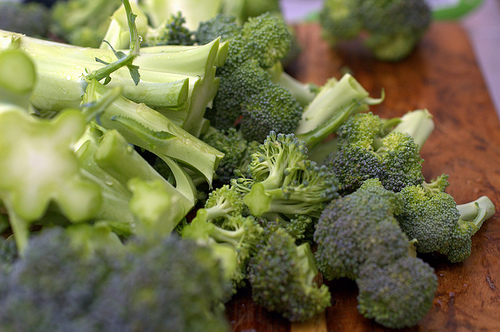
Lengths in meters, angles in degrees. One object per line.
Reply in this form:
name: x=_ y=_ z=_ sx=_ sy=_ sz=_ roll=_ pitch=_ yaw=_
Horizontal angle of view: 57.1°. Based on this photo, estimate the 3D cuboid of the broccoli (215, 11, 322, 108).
broccoli: x=0.093 y=-0.351 z=1.624 sx=0.208 sy=0.364 sz=0.162 roll=-28 pitch=52 yaw=25

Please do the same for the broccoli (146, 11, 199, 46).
broccoli: x=-0.276 y=-0.451 z=1.591 sx=0.140 sy=0.086 sz=0.139 roll=-4 pitch=54 yaw=-2

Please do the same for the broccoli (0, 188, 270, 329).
broccoli: x=-0.297 y=0.209 z=1.172 sx=0.462 sy=0.380 sz=0.172 roll=4 pitch=28 yaw=-3

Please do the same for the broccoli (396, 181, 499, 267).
broccoli: x=0.561 y=0.139 z=1.347 sx=0.296 sy=0.164 sz=0.225 roll=10 pitch=22 yaw=-49

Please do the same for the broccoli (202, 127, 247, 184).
broccoli: x=-0.068 y=-0.044 z=1.374 sx=0.127 sy=0.099 sz=0.170 roll=3 pitch=46 yaw=-8

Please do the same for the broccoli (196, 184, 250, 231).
broccoli: x=-0.074 y=0.109 z=1.328 sx=0.130 sy=0.122 sz=0.095 roll=-25 pitch=17 yaw=7

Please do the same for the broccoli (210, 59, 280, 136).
broccoli: x=-0.037 y=-0.245 z=1.520 sx=0.199 sy=0.252 sz=0.117 roll=33 pitch=22 yaw=-25

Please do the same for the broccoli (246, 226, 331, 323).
broccoli: x=0.102 y=0.245 z=1.193 sx=0.189 sy=0.125 sz=0.248 roll=10 pitch=86 yaw=-7

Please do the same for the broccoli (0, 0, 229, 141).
broccoli: x=-0.451 y=-0.299 z=1.448 sx=0.648 sy=0.384 sz=0.370 roll=18 pitch=26 yaw=14

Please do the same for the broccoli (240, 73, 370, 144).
broccoli: x=0.180 y=-0.193 z=1.553 sx=0.370 sy=0.179 sz=0.218 roll=-27 pitch=20 yaw=-1

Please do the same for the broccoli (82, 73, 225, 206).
broccoli: x=-0.300 y=-0.060 z=1.394 sx=0.437 sy=0.182 sz=0.288 roll=27 pitch=80 yaw=-22

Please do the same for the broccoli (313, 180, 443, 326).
broccoli: x=0.361 y=0.272 z=1.305 sx=0.302 sy=0.152 sz=0.358 roll=-34 pitch=63 yaw=11
